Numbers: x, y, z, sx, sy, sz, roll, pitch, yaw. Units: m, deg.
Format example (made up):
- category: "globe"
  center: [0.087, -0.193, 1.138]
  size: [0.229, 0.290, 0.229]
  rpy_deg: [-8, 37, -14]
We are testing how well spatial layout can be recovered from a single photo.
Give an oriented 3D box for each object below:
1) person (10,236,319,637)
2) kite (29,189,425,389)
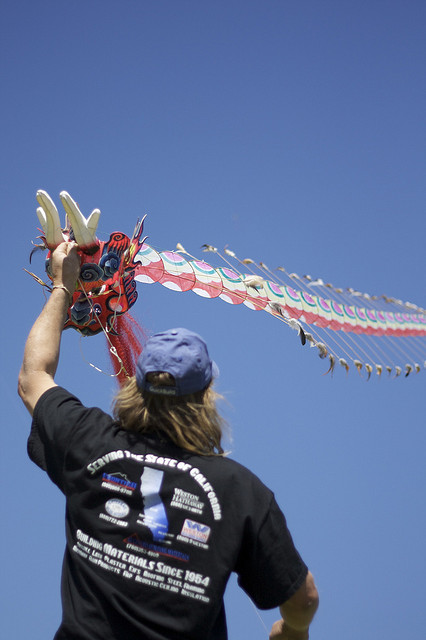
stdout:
- category: "person"
  center: [-0.179, 0.491, 4.677]
  size: [1.333, 1.515, 0.505]
  rpy_deg: [8, -18, 7]
- category: "kite"
  center: [0.036, -0.222, 6.993]
  size: [1.921, 0.722, 1.215]
  rpy_deg: [-8, 2, -26]
